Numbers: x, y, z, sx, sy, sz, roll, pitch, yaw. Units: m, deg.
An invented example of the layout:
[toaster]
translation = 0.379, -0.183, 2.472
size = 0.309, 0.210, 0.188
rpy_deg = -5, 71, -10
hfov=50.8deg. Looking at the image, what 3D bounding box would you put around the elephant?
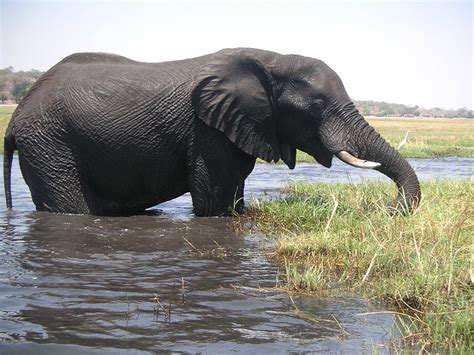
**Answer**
[elephant]
translation = -0.732, -0.845, 8.385
size = 6.936, 2.484, 2.373
rpy_deg = -2, 9, 1
